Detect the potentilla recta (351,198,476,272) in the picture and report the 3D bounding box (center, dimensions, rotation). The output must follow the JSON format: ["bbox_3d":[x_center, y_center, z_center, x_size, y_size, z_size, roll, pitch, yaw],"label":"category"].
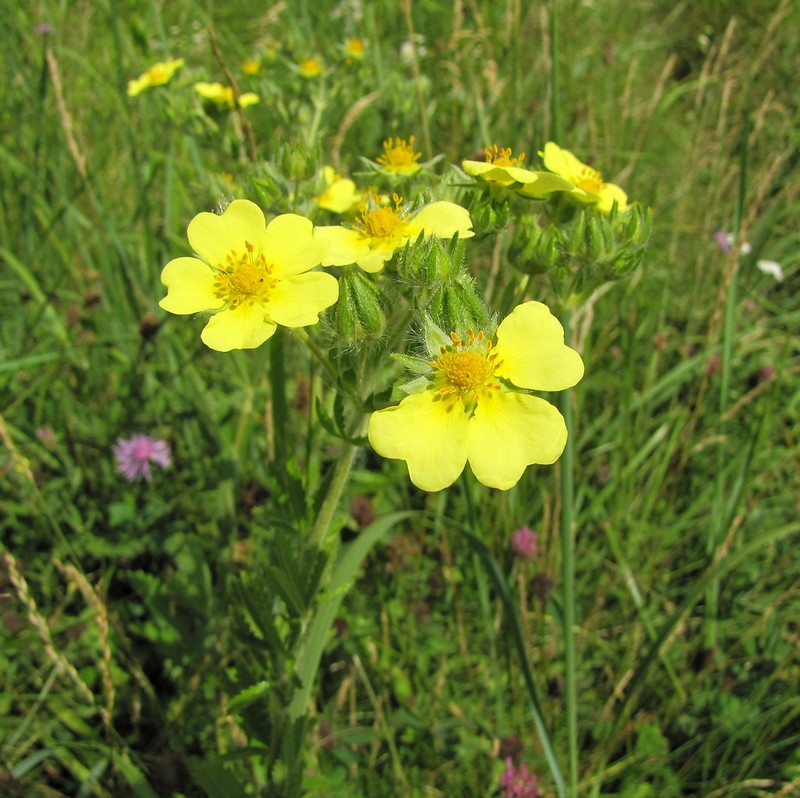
[{"bbox_3d":[0.023,-0.443,2.266,0.285,0.133,0.219,-8,50,-11],"label":"potentilla recta"}]

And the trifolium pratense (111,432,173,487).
[{"bbox_3d":[-0.820,0.175,2.791,0.153,0.129,0.162,21,50,15],"label":"trifolium pratense"}]

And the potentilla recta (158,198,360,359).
[{"bbox_3d":[-0.365,-0.302,2.141,0.433,0.179,0.347,3,49,-1],"label":"potentilla recta"}]

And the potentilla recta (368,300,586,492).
[{"bbox_3d":[0.186,-0.018,2.058,0.443,0.252,0.464,18,50,11],"label":"potentilla recta"}]
